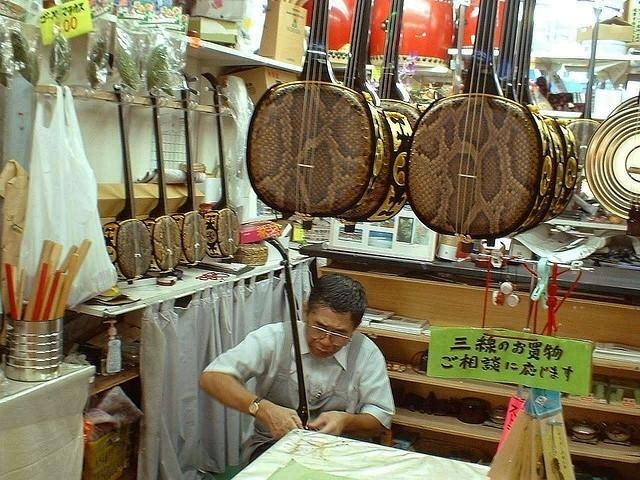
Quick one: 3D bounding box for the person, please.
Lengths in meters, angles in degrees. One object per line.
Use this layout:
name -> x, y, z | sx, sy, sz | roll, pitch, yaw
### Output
person -> -0.089, 0.688, 2.124 | 0.875, 0.938, 0.666 | 7, 18, -10

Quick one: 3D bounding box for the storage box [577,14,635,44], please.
storage box -> 1.926, -1.400, 3.176 | 0.267, 0.155, 0.259 | -4, 16, -11

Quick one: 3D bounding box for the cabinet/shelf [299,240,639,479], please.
cabinet/shelf -> 0.755, 0.551, 2.199 | 1.640, 0.889, 0.484 | 8, 36, 12

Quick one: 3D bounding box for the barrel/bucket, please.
barrel/bucket -> -1.122, 0.444, 1.967 | 0.262, 0.240, 0.237 | 1, -1, 1

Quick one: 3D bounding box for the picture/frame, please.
picture/frame -> 0.362, -0.010, 2.465 | 0.405, 0.206, 0.015 | 6, 13, 20
